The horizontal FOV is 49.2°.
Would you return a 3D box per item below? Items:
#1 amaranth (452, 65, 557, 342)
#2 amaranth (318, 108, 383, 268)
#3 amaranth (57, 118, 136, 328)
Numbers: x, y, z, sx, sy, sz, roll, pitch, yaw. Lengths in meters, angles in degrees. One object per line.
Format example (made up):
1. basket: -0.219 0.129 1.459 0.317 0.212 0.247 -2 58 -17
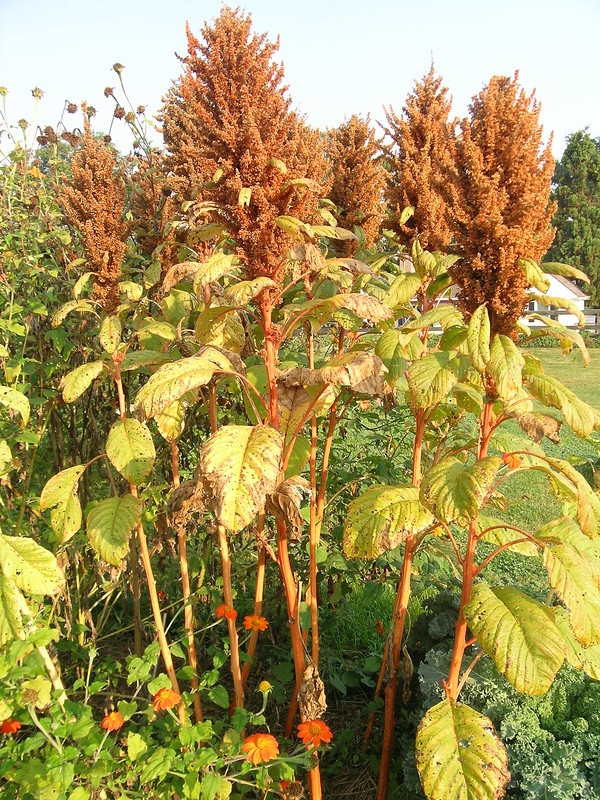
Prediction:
1. amaranth: 0.586 -0.605 1.949 0.312 0.813 0.375 -2 -7 21
2. amaranth: 0.267 -1.059 3.206 0.283 0.801 0.390 0 -7 3
3. amaranth: -0.788 -0.731 2.508 0.264 0.791 0.423 3 -7 -20
